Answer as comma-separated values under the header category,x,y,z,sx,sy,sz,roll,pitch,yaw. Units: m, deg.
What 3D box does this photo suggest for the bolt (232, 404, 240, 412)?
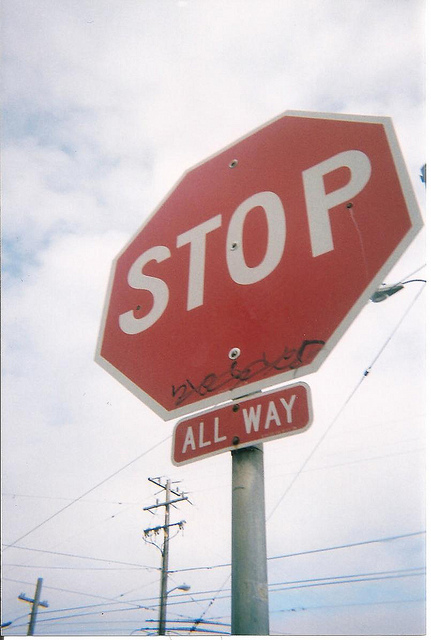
category,x,y,z,sx,sy,sz,roll,pitch,yaw
bolt,0.095,0.410,4.316,0.026,0.034,0.009,12,-2,13

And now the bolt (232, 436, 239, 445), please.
category,x,y,z,sx,sy,sz,roll,pitch,yaw
bolt,0.090,0.557,4.258,0.036,0.032,0.008,-12,-39,21

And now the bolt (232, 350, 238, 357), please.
category,x,y,z,sx,sy,sz,roll,pitch,yaw
bolt,0.093,0.162,4.451,0.023,0.028,0.009,-3,-10,12

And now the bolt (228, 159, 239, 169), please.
category,x,y,z,sx,sy,sz,roll,pitch,yaw
bolt,0.091,-0.824,4.885,0.042,0.051,0.020,13,-14,26

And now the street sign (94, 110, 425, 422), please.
category,x,y,z,sx,sy,sz,roll,pitch,yaw
street sign,0.192,-0.296,4.570,1.930,1.509,0.041,-29,-41,23

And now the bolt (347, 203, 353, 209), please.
category,x,y,z,sx,sy,sz,roll,pitch,yaw
bolt,0.642,-0.545,4.420,0.030,0.027,0.006,5,4,24
